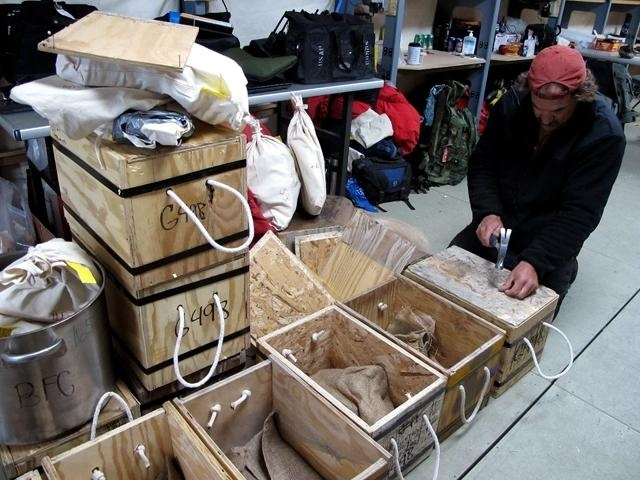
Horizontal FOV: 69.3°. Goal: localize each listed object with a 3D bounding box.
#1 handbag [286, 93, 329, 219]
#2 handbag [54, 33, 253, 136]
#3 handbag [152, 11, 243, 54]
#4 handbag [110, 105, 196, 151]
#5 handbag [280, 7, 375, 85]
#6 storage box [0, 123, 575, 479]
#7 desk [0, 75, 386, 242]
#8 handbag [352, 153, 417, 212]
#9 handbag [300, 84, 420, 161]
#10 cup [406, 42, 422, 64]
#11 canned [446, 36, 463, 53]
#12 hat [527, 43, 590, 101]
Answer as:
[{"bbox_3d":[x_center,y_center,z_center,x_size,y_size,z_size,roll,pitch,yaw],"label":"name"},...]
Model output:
[{"bbox_3d":[-0.074,-0.444,2.517,0.158,0.649,0.187,-1,-11,-35],"label":"handbag"},{"bbox_3d":[-0.389,-0.433,1.242,0.308,0.098,0.315,25,24,14],"label":"handbag"},{"bbox_3d":[-0.703,-1.132,2.652,0.438,0.336,0.146,-20,-2,-27],"label":"handbag"},{"bbox_3d":[-0.446,-0.296,1.203,0.139,0.054,0.136,4,36,-6],"label":"handbag"},{"bbox_3d":[0.053,-1.225,2.944,0.613,0.358,0.381,-18,35,-35],"label":"handbag"},{"bbox_3d":[-0.375,-0.042,1.778,1.676,0.913,1.181,-3,29,-14],"label":"storage box"},{"bbox_3d":[-0.489,-0.301,1.769,0.997,0.502,0.543,-33,67,-23],"label":"desk"},{"bbox_3d":[0.426,-0.464,3.481,0.447,0.364,0.371,-14,41,-31],"label":"handbag"},{"bbox_3d":[0.415,-0.921,3.540,0.568,0.204,0.574,-15,51,-33],"label":"handbag"},{"bbox_3d":[0.697,-1.431,3.563,0.101,0.162,0.165,2,28,7],"label":"cup"},{"bbox_3d":[1.231,-1.786,4.218,0.108,0.195,0.104,31,56,30],"label":"canned"},{"bbox_3d":[1.007,-0.728,1.960,0.175,0.090,0.251,11,66,23],"label":"hat"}]
